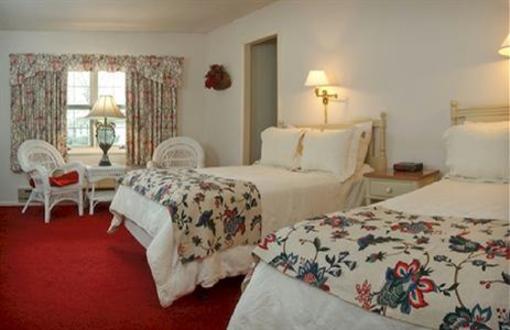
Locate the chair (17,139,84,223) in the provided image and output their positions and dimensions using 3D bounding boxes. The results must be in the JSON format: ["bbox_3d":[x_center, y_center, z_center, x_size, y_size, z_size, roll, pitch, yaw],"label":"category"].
[{"bbox_3d":[-3.122,0.192,5.515,0.766,1.114,0.754,7,6,22],"label":"chair"}]

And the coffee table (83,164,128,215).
[{"bbox_3d":[-2.385,0.374,5.761,0.789,0.671,0.800,0,3,-20],"label":"coffee table"}]

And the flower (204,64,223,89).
[{"bbox_3d":[-0.679,-1.492,6.177,0.313,0.421,0.161,10,4,29],"label":"flower"}]

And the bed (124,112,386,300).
[{"bbox_3d":[0.020,0.463,4.182,2.456,1.512,1.825,-2,2,-26],"label":"bed"}]
